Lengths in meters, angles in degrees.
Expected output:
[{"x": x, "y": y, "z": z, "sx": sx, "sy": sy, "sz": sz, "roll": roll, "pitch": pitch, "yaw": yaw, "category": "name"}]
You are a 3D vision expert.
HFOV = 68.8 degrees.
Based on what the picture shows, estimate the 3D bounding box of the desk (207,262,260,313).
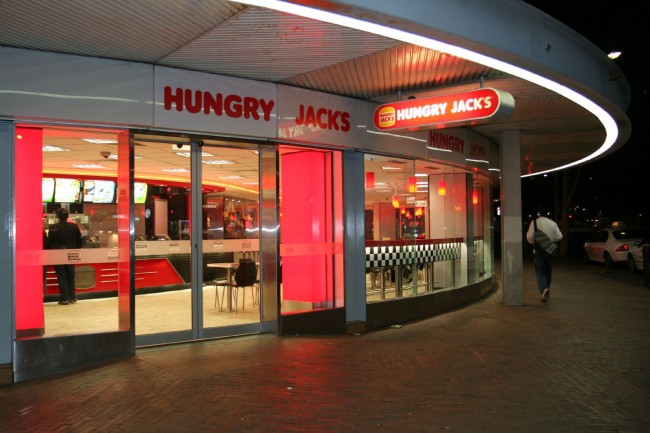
[{"x": -1.662, "y": 1.273, "z": 8.888, "sx": 0.612, "sy": 0.842, "sz": 0.638, "roll": 0, "pitch": -3, "yaw": 32, "category": "desk"}]

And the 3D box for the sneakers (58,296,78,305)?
[{"x": -3.927, "y": 1.283, "z": 7.239, "sx": 0.258, "sy": 0.096, "sz": 0.040, "roll": -2, "pitch": 3, "yaw": -36, "category": "sneakers"}]

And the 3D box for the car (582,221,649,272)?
[{"x": 11.351, "y": 1.188, "z": 18.663, "sx": 1.214, "sy": 0.861, "sz": 2.631, "roll": -4, "pitch": 5, "yaw": 0, "category": "car"}]

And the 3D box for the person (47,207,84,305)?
[{"x": -3.985, "y": 0.608, "z": 7.286, "sx": 0.283, "sy": 1.400, "sz": 0.403, "roll": 1, "pitch": 3, "yaw": 19, "category": "person"}]

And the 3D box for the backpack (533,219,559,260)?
[{"x": 5.384, "y": 0.519, "z": 11.710, "sx": 0.357, "sy": 0.899, "sz": 0.678, "roll": -1, "pitch": 3, "yaw": -21, "category": "backpack"}]
